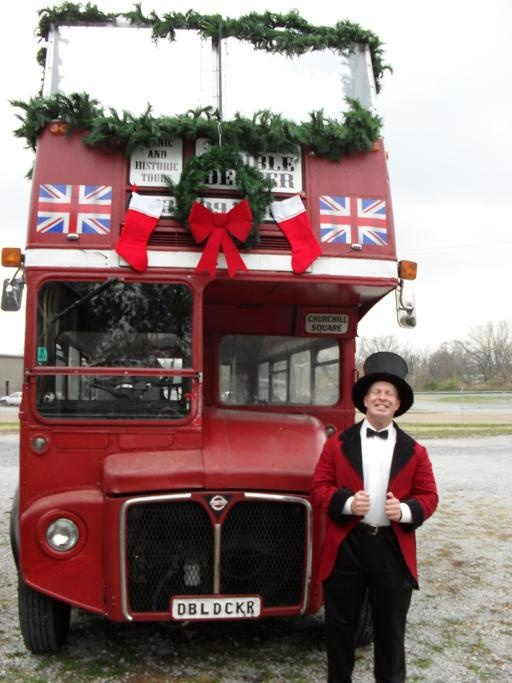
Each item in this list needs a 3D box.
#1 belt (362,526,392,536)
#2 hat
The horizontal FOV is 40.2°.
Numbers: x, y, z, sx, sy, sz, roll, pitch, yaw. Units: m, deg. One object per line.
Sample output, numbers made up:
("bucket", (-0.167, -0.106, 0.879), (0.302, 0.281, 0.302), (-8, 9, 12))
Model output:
("belt", (0.516, 0.812, 2.997), (0.130, 0.038, 0.018), (0, -2, 7))
("hat", (0.588, 0.186, 3.280), (0.314, 0.192, 0.318), (3, 5, 0))
